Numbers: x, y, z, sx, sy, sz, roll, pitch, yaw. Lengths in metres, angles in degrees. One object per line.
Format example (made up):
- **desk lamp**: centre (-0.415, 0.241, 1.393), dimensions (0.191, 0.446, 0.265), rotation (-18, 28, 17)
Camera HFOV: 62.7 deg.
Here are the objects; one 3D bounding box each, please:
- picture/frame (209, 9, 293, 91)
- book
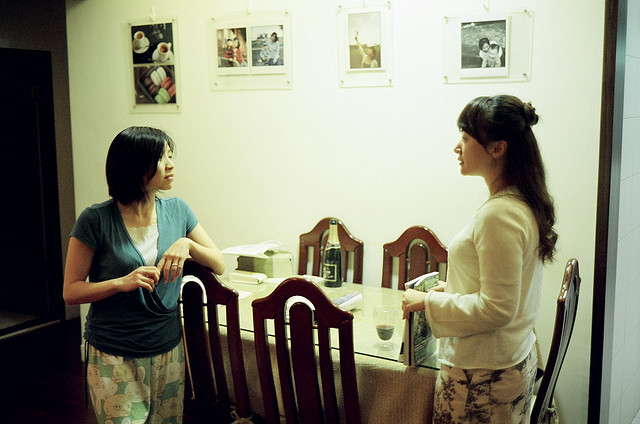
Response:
- **picture/frame**: centre (-0.475, -1.214, 3.876), dimensions (0.609, 0.528, 0.034), rotation (2, 7, 18)
- **book**: centre (0.504, 0.559, 2.633), dimensions (0.140, 0.425, 0.379), rotation (6, 16, 36)
